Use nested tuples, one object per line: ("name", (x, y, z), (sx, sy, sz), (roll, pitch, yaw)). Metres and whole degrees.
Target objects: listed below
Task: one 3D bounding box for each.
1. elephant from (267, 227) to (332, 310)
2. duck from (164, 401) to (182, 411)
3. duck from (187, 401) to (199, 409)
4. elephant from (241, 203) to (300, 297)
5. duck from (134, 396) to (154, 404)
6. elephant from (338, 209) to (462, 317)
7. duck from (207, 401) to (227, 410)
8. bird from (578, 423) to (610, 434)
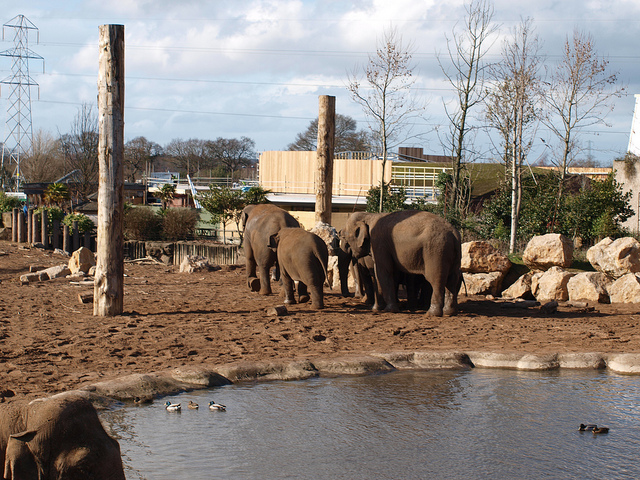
("elephant", (-0.582, 0.586, 22.744), (0.879, 1.675, 2.540), (-6, 6, -24))
("duck", (-2.288, 2.594, 16.714), (0.296, 0.105, 0.195), (1, 3, 27))
("duck", (-1.974, 2.584, 16.736), (0.090, 0.122, 0.179), (2, -1, -10))
("elephant", (-1.245, 0.145, 24.864), (1.054, 2.042, 2.625), (-1, 7, -19))
("duck", (-2.741, 2.522, 16.833), (0.298, 0.085, 0.154), (-1, 3, -9))
("elephant", (1.545, 0.444, 22.334), (2.841, 2.160, 1.347), (2, 10, 32))
("duck", (-1.598, 2.578, 16.726), (0.266, 0.173, 0.109), (2, -8, 8))
("bird", (4.159, 2.899, 16.492), (0.190, 0.061, 0.283), (3, 1, -39))
